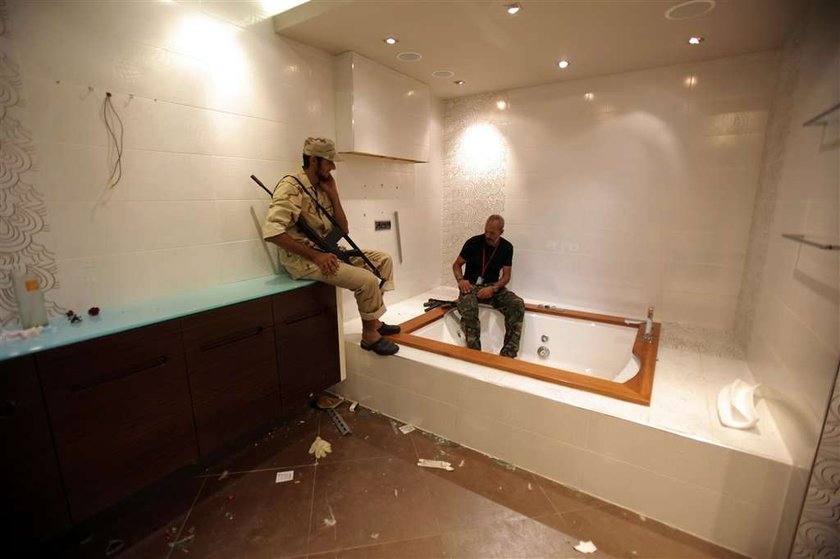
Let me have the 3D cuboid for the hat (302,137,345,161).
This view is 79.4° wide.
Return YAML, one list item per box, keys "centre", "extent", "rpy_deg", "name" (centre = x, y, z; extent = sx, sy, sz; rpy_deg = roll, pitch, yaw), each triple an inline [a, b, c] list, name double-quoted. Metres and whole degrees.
- centre: [-0.652, -0.879, 3.423]
  extent: [0.225, 0.082, 0.149]
  rpy_deg: [-3, 35, -28]
  name: "hat"

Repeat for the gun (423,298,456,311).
- centre: [0.156, 0.210, 4.399]
  extent: [0.154, 0.049, 0.134]
  rpy_deg: [-19, 17, -23]
  name: "gun"

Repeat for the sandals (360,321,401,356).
- centre: [-0.304, 0.423, 3.691]
  extent: [0.250, 0.091, 0.255]
  rpy_deg: [5, 19, 7]
  name: "sandals"

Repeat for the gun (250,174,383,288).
- centre: [-0.768, -0.340, 3.538]
  extent: [0.112, 1.086, 0.386]
  rpy_deg: [-30, 21, 45]
  name: "gun"

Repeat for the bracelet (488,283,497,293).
- centre: [0.636, 0.065, 4.348]
  extent: [0.066, 0.065, 0.022]
  rpy_deg: [9, -16, -20]
  name: "bracelet"
